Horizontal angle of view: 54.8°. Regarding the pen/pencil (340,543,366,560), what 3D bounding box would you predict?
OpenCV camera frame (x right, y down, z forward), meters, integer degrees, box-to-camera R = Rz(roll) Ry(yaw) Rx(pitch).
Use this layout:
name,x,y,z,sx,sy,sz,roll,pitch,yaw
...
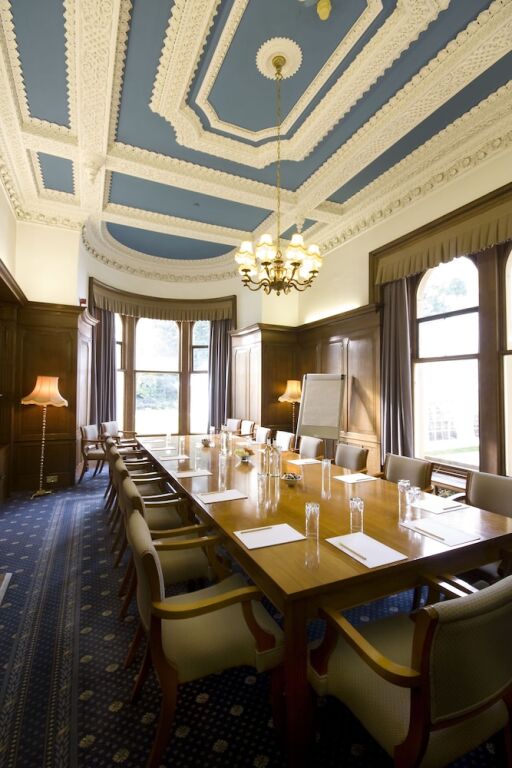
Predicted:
name,x,y,z,sx,sy,sz,roll,pitch,yaw
pen/pencil,0.376,0.644,1.963,0.021,0.030,0.205,5,-3,-16

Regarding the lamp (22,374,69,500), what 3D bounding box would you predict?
name,x,y,z,sx,sy,sz,roll,pitch,yaw
lamp,-2.433,0.559,5.637,0.484,1.313,0.625,-2,4,-25
